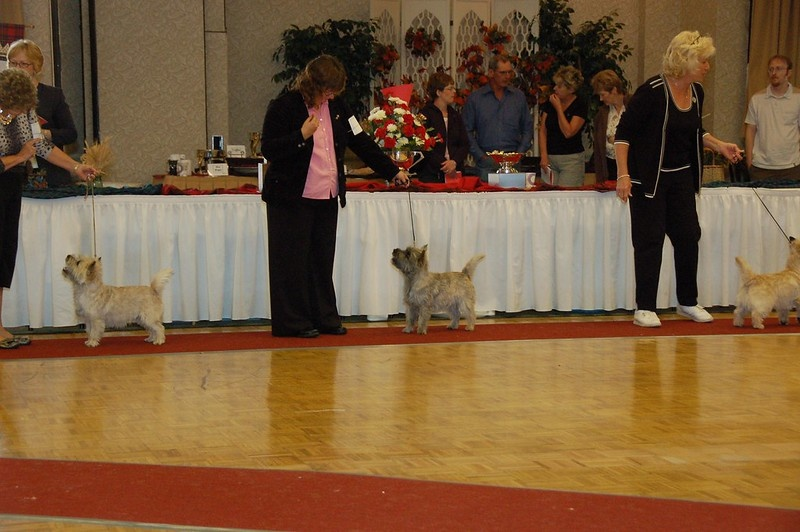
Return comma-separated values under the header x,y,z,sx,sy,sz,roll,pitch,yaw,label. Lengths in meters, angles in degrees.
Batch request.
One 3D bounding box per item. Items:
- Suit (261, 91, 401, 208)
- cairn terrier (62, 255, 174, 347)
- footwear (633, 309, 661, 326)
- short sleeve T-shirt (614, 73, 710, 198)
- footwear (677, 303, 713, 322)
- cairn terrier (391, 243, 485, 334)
x,y,z,sx,sy,sz,roll,pitch,yaw,label
-0.471,-0.782,5.476,0.833,0.940,0.414,-24,44,-34,Suit
-1.827,0.240,5.167,0.741,0.574,0.270,3,-2,-40,cairn terrier
1.777,0.392,5.745,0.090,0.073,0.184,-3,0,-17,footwear
1.846,-0.916,5.606,0.621,0.819,0.178,-2,10,-13,short sleeve T-shirt
2.198,0.349,5.984,0.293,0.110,0.109,6,14,44,footwear
0.270,0.184,5.505,0.782,0.583,0.259,1,2,-28,cairn terrier
